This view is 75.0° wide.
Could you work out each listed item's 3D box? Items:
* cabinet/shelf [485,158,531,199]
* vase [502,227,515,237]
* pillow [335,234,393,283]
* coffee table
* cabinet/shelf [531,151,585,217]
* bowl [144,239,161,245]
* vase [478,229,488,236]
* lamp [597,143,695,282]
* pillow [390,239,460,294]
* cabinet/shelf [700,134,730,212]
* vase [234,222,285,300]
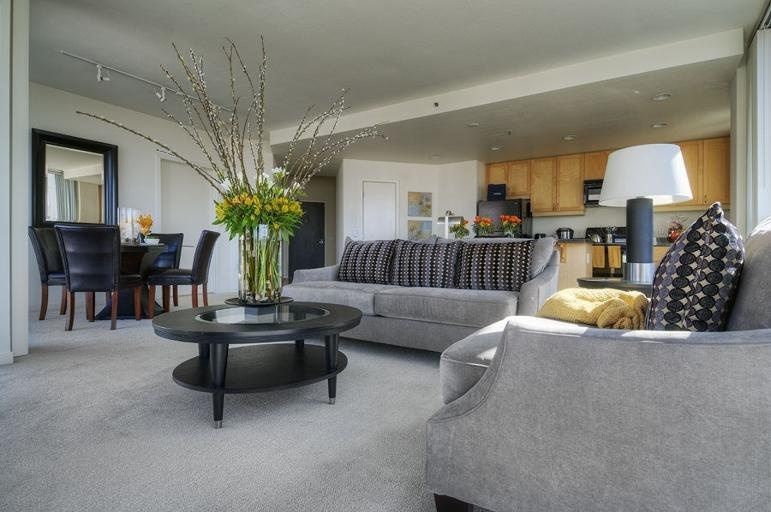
[{"bbox_3d":[2.060,-1.306,8.366,0.734,0.598,0.280,-1,-4,40],"label":"cabinet/shelf"},{"bbox_3d":[1.576,-0.313,6.439,0.145,0.154,0.147,0,-1,14],"label":"vase"},{"bbox_3d":[-0.210,0.014,4.886,0.519,0.426,0.141,-3,-25,42],"label":"pillow"},{"bbox_3d":[-0.824,0.662,3.255,1.246,0.679,0.802,-1,3,-24],"label":"coffee table"},{"bbox_3d":[2.746,-1.155,7.931,1.023,1.145,0.428,-1,-5,30],"label":"cabinet/shelf"},{"bbox_3d":[-2.586,-0.171,5.500,0.134,0.052,0.130,-1,-2,0],"label":"bowl"},{"bbox_3d":[1.418,-0.355,7.433,0.128,0.065,0.084,5,-1,18],"label":"vase"},{"bbox_3d":[1.832,-0.280,3.640,0.635,0.937,0.611,2,-3,31],"label":"lamp"},{"bbox_3d":[0.377,0.073,4.571,0.524,0.447,0.158,7,-14,30],"label":"pillow"},{"bbox_3d":[4.503,-1.175,6.842,0.325,0.937,0.218,2,4,28],"label":"cabinet/shelf"},{"bbox_3d":[-0.929,0.072,3.501,0.333,0.538,0.348,-10,-12,37],"label":"vase"}]
